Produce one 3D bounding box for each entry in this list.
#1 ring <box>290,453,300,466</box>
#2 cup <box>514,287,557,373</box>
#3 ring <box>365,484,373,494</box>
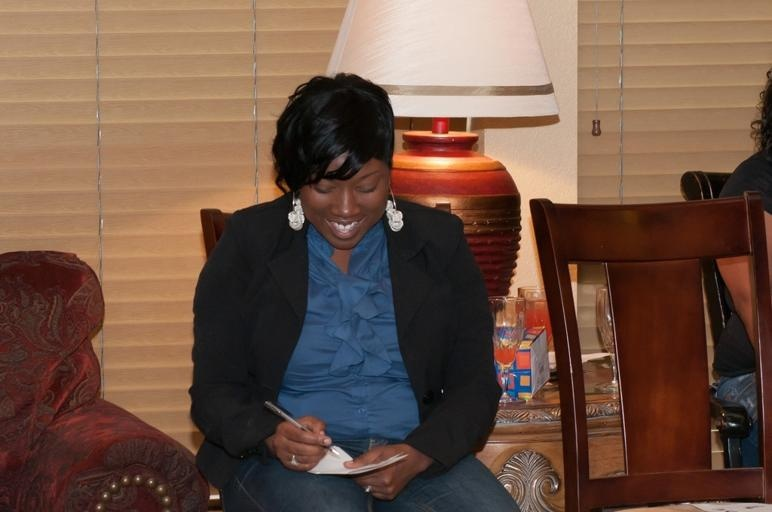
[{"bbox_3d":[-0.201,0.454,1.640,0.023,0.030,0.032,-1,1,-5],"label":"ring"},{"bbox_3d":[0.427,0.188,2.169,0.115,0.190,0.115,2,9,0],"label":"cup"},{"bbox_3d":[-0.040,0.535,1.678,0.017,0.027,0.026,-3,-3,-5],"label":"ring"}]
